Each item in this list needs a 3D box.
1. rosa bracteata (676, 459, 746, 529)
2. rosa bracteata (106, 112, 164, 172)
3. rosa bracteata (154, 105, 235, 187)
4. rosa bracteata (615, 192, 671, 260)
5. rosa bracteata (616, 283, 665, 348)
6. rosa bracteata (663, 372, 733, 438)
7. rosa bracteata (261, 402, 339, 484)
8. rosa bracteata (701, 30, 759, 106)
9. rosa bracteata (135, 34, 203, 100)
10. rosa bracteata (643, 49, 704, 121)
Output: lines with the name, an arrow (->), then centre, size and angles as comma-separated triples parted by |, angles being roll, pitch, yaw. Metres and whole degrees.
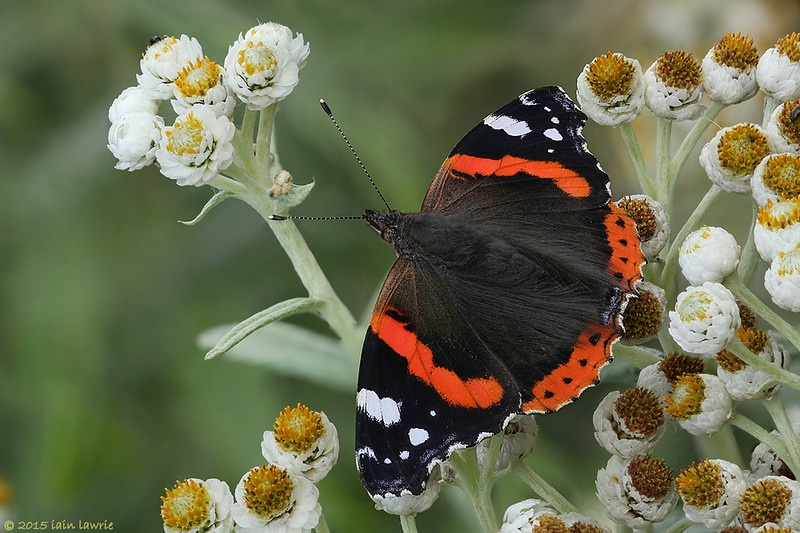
rosa bracteata -> 0.575, 0.418, 1.638 | 0.121, 0.122, 0.064 | 27, 1, 1
rosa bracteata -> -0.532, -0.254, 1.755 | 0.098, 0.123, 0.045 | -4, -13, 4
rosa bracteata -> -0.403, -0.236, 1.734 | 0.146, 0.160, 0.059 | 4, -14, 9
rosa bracteata -> 0.506, -0.089, 1.822 | 0.104, 0.130, 0.053 | -13, -13, -3
rosa bracteata -> 0.474, 0.097, 1.726 | 0.092, 0.106, 0.056 | 4, -11, 33
rosa bracteata -> 0.565, 0.263, 1.674 | 0.116, 0.085, 0.105 | 6, -51, 9
rosa bracteata -> -0.190, 0.343, 1.701 | 0.153, 0.143, 0.094 | 13, -18, -2
rosa bracteata -> 0.695, -0.409, 1.869 | 0.115, 0.152, 0.076 | 11, -3, -11
rosa bracteata -> -0.479, -0.415, 1.792 | 0.117, 0.139, 0.053 | 0, -9, 19
rosa bracteata -> 0.577, -0.374, 1.828 | 0.117, 0.148, 0.074 | -5, 0, -1
